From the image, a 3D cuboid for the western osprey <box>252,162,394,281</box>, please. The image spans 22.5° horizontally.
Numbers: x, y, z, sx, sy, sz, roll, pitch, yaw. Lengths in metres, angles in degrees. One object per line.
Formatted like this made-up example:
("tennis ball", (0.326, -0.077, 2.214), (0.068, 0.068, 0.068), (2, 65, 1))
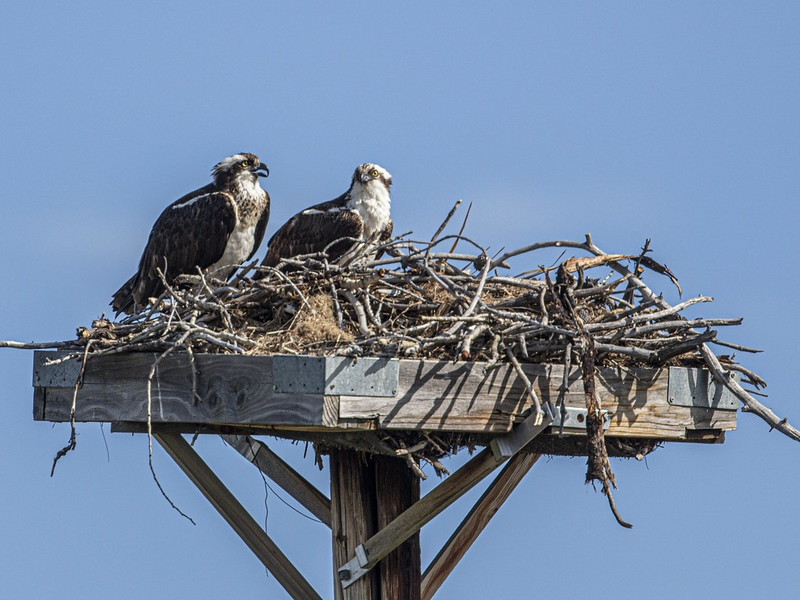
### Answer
("western osprey", (-0.730, -0.628, 18.032), (1.696, 1.199, 0.848), (4, 8, 37))
